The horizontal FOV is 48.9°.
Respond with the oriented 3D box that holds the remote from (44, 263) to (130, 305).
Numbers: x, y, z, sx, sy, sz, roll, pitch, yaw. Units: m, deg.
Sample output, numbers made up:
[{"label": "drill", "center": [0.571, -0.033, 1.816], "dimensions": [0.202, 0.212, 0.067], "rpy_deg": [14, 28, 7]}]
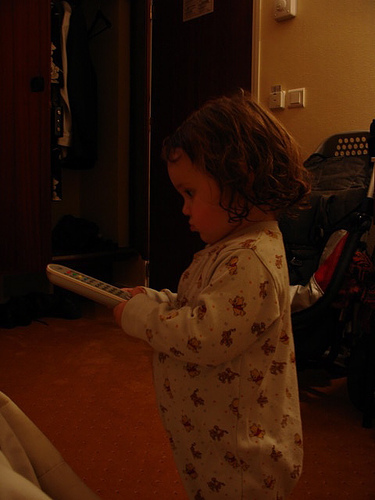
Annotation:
[{"label": "remote", "center": [-0.154, 0.056, 0.655], "dimensions": [0.128, 0.023, 0.063], "rpy_deg": [28, -1, -12]}]
